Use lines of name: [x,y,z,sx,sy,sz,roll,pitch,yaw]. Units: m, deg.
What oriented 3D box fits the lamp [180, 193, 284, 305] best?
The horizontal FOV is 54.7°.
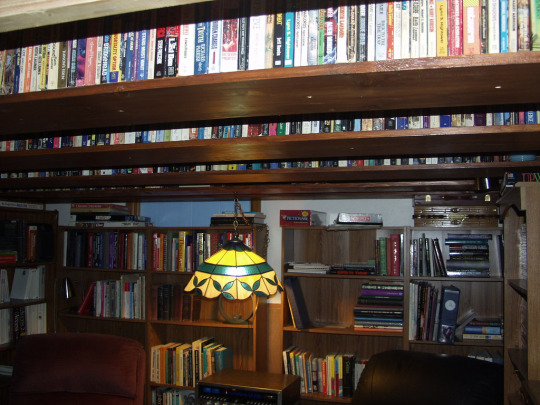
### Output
lamp: [-0.195,0.360,3.032,0.419,0.414,0.435,-2,-5,39]
